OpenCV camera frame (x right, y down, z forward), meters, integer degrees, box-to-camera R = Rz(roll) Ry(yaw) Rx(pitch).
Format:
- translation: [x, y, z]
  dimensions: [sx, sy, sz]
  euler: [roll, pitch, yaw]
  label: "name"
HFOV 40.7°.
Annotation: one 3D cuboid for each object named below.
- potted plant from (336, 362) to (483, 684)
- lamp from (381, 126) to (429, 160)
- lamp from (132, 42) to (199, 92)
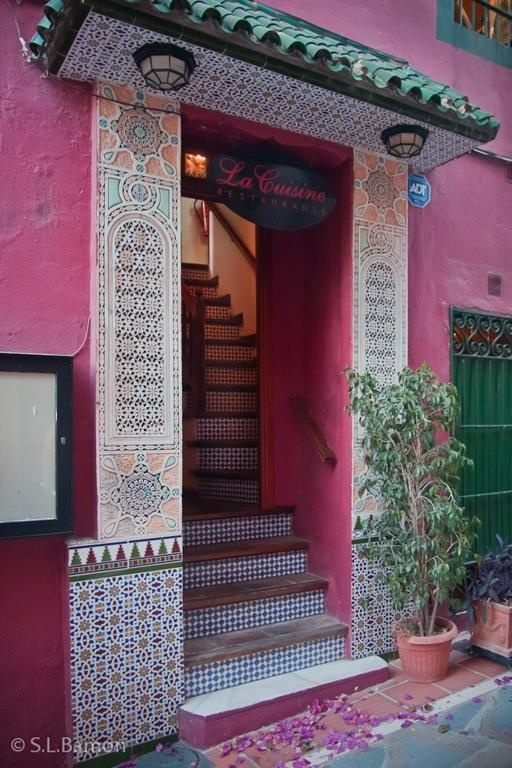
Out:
- translation: [0.857, 0.718, 3.744]
  dimensions: [0.644, 1.699, 0.833]
  euler: [-3, -6, 7]
  label: "potted plant"
- translation: [0.769, -1.269, 3.644]
  dimensions: [0.184, 0.100, 0.174]
  euler: [-1, -6, -5]
  label: "lamp"
- translation: [-0.353, -1.309, 2.861]
  dimensions: [0.296, 0.124, 0.173]
  euler: [2, -7, -33]
  label: "lamp"
